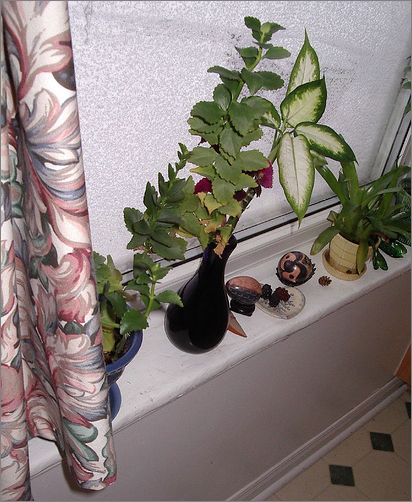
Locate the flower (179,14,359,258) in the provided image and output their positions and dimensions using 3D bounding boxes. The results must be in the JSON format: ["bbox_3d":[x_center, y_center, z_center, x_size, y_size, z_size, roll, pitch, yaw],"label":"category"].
[{"bbox_3d":[0.118,-0.226,0.786,0.274,0.447,0.279,22,70,13],"label":"flower"}]
